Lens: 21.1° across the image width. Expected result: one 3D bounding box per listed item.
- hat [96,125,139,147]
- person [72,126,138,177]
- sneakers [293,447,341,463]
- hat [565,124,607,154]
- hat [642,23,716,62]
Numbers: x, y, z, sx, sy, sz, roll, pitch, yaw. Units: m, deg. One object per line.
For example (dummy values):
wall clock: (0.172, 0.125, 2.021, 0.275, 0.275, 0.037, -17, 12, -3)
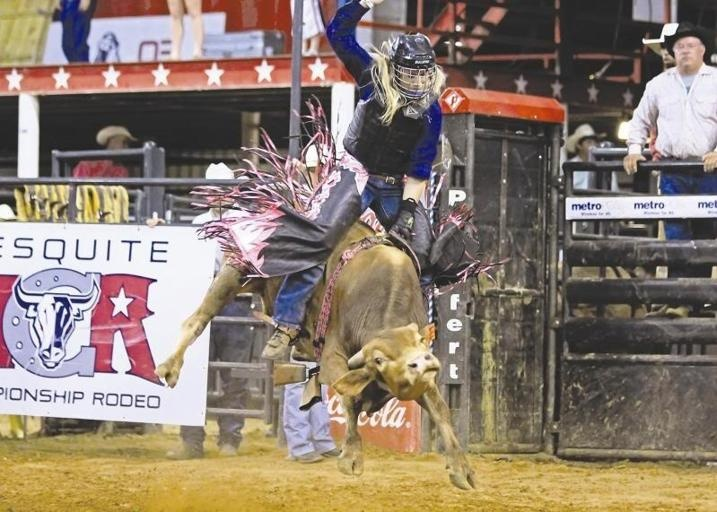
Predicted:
hat: (-3.718, -1.938, 29.880, 0.584, 0.249, 0.444, 12, -14, -43)
person: (-3.923, -1.571, 29.083, 0.829, 1.010, 2.312, 2, -4, -9)
sneakers: (-0.577, 2.674, 25.308, 0.233, 0.275, 0.694, 6, -5, 45)
hat: (3.529, -1.916, 30.154, 0.156, 0.523, 0.528, 33, -7, 32)
hat: (4.618, -3.030, 27.407, 1.207, 0.441, 1.215, 1, -11, 12)
